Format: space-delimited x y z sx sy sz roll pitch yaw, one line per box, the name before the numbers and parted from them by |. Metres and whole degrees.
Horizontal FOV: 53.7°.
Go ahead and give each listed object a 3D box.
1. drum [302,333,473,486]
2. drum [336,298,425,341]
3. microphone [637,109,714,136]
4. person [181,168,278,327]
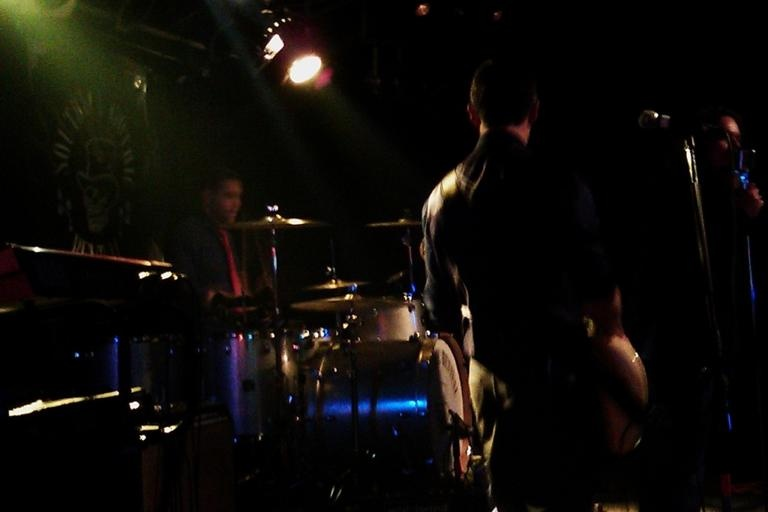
drum | 0.057 1.374 6.649 1.294 1.120 1.072 -12 -21 38
drum | -0.005 0.582 6.723 0.468 0.182 0.467 -8 -3 0
microphone | 1.793 -0.821 4.678 0.322 0.087 0.227 4 -1 -7
person | -1.489 -0.058 7.263 0.770 1.647 1.015 -5 -12 5
